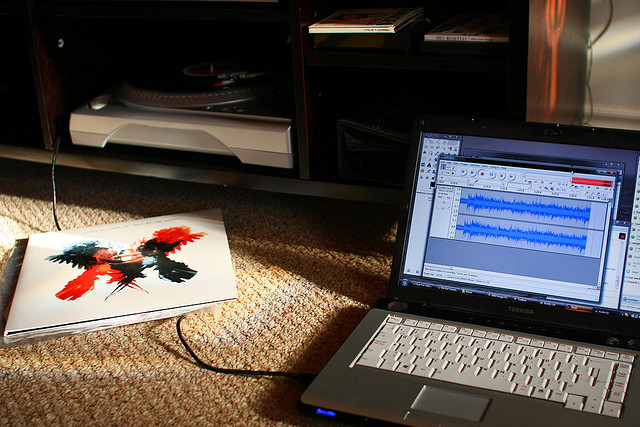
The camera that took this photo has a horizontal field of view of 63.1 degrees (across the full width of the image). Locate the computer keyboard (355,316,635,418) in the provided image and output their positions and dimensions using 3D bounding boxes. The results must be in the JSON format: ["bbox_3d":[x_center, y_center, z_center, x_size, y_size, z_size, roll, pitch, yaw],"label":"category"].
[{"bbox_3d":[0.233,0.197,0.697,0.351,0.025,0.105,7,23,15],"label":"computer keyboard"}]

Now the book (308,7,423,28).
[{"bbox_3d":[0.083,-0.355,0.946,0.145,0.025,0.154,10,21,26],"label":"book"}]

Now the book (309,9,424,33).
[{"bbox_3d":[0.107,-0.344,0.932,0.228,0.039,0.103,-13,26,-31],"label":"book"}]

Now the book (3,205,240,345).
[{"bbox_3d":[-0.335,0.092,0.899,0.362,0.085,0.277,-4,22,-12],"label":"book"}]

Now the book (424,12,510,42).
[{"bbox_3d":[0.278,-0.340,0.940,0.151,0.010,0.154,12,40,23],"label":"book"}]
